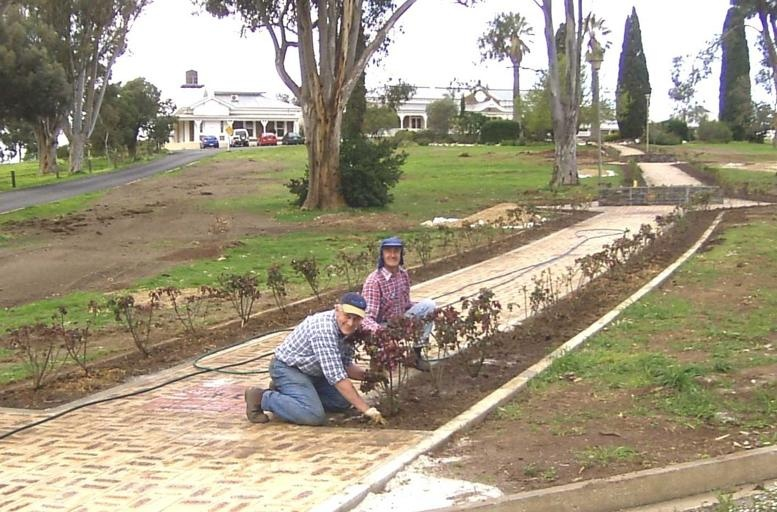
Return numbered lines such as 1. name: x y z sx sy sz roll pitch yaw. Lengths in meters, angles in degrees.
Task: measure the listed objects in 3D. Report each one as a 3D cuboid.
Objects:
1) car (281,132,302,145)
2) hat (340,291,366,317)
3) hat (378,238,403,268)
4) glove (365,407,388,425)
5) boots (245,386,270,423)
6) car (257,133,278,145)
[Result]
1. car: -8.365 -10.143 77.936 1.107 0.728 2.355 -2 12 -9
2. hat: -0.487 0.669 12.483 0.291 0.196 0.377 20 3 -20
3. hat: 0.024 -0.065 13.678 0.392 0.436 0.461 0 -8 0
4. glove: -0.171 2.227 12.411 0.229 0.249 0.129 -50 8 -28
5. boots: -1.853 2.091 12.599 0.300 0.481 0.264 -4 11 -8
6. car: -10.646 -10.275 79.160 1.179 0.683 2.171 -2 11 -9
